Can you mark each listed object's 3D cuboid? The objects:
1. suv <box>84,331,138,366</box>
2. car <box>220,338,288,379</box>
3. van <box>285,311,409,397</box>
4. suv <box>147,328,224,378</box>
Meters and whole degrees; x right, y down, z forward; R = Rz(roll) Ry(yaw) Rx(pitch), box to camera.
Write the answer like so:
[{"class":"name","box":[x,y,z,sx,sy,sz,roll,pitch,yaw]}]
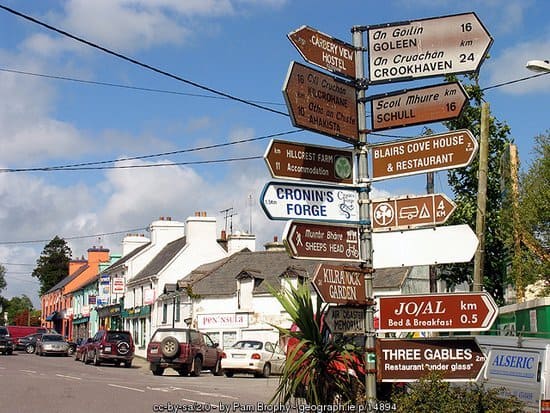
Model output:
[{"class":"suv","box":[-7.447,6.417,43.029,1.685,1.598,3.899,6,-10,-21]},{"class":"car","box":[-0.660,5.877,36.725,1.733,1.488,3.998,-1,-10,24]},{"class":"van","box":[1.242,3.061,19.701,2.728,1.766,1.570,-4,-6,25]},{"class":"suv","box":[-3.348,5.456,36.139,1.554,1.450,2.994,-2,-4,22]}]
